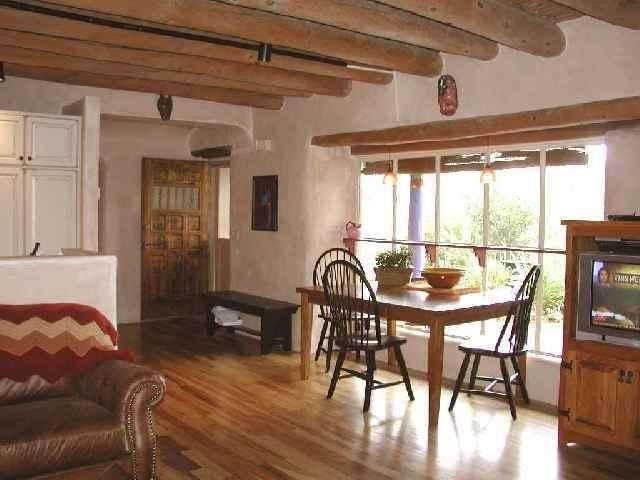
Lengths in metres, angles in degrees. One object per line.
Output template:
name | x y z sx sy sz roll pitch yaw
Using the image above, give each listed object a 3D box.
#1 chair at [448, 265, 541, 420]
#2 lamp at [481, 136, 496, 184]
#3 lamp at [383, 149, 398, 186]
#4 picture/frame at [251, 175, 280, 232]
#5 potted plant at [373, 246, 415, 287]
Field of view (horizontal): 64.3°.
chair | 1.651 0.892 4.821 0.736 1.369 0.937 2 4 24
lamp | 1.730 -0.819 5.248 0.143 0.482 0.507 1 4 19
lamp | 0.844 -0.856 6.117 0.164 0.392 0.596 1 4 8
picture/frame | -0.745 -0.513 7.139 0.065 0.893 0.770 0 3 -34
potted plant | 0.829 0.310 5.644 0.400 0.395 0.395 -2 -3 43
